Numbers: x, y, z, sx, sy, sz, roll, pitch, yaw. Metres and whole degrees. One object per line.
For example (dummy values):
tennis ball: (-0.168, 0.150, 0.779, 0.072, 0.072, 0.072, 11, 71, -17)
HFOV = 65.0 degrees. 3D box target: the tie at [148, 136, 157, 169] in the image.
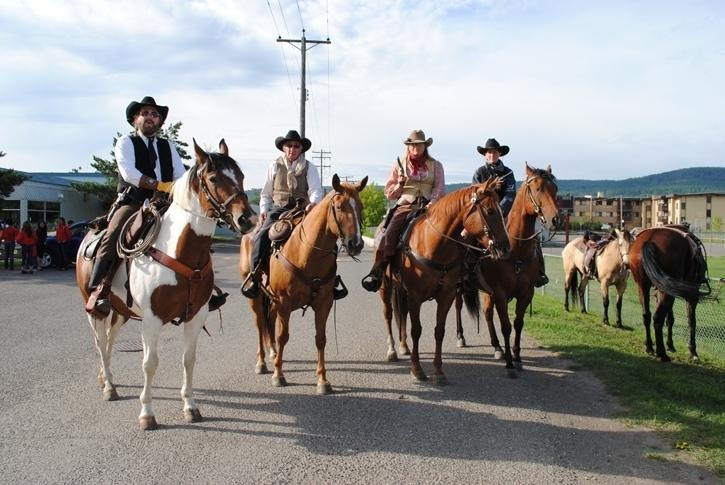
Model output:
tie: (-3.423, -1.485, 9.291, 0.100, 0.549, 0.134, -4, -12, 1)

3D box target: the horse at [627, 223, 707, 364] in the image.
horse: (6.260, 1.049, 11.725, 1.410, 2.637, 2.134, 5, 10, 33)

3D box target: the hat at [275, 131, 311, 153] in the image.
hat: (-1.333, -1.947, 10.859, 0.629, 0.374, 1.011, -2, 9, -9)

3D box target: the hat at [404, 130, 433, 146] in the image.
hat: (1.090, -2.033, 11.021, 0.460, 0.268, 0.284, -1, 8, -7)

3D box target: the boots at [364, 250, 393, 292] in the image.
boots: (0.230, 0.712, 10.884, 0.449, 1.048, 0.307, -29, 61, -34)

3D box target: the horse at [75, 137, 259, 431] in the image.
horse: (-2.904, 0.541, 8.442, 3.273, 4.115, 1.530, 6, 10, 39)

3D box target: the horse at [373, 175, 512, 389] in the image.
horse: (1.228, 0.861, 10.777, 1.222, 3.444, 4.720, 3, -7, -19)
